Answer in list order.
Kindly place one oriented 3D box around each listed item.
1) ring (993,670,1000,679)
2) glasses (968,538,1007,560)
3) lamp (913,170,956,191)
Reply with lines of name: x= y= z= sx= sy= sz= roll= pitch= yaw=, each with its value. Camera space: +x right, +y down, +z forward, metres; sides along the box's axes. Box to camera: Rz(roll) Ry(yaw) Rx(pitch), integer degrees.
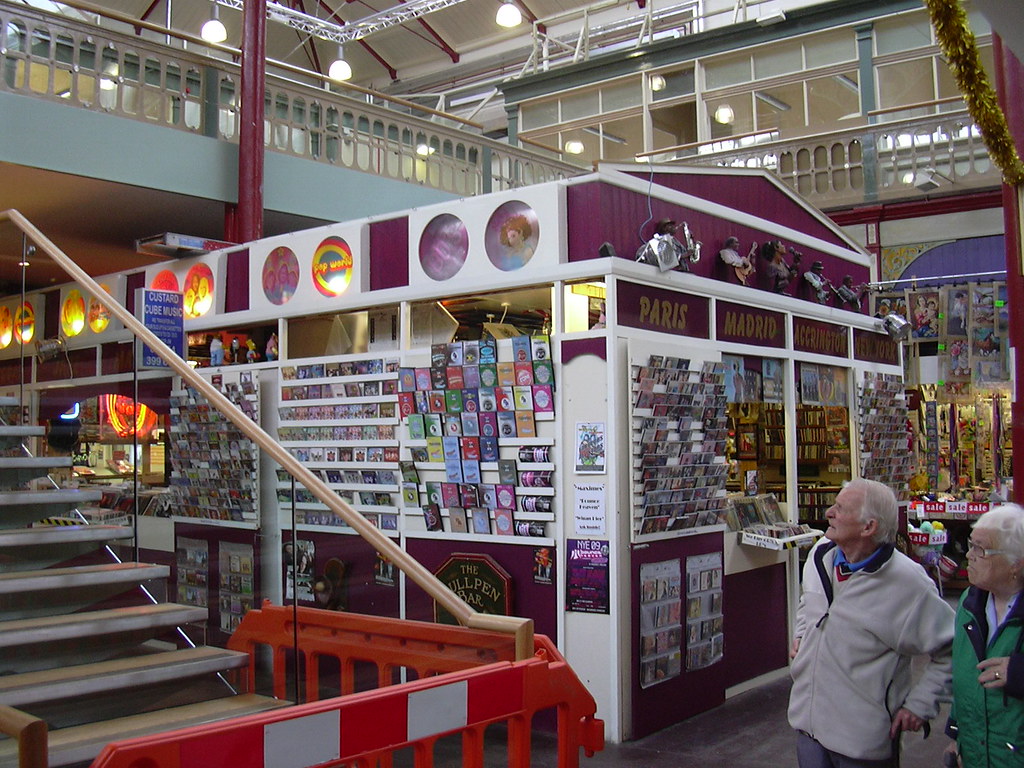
ring: x=1.649 y=0.984 z=3.134 sx=0.010 sy=0.017 sz=0.016 roll=3 pitch=-6 yaw=17
glasses: x=1.695 y=0.579 z=3.264 sx=0.085 sy=0.045 sz=0.086 roll=11 pitch=-7 yaw=-3
lamp: x=5.869 y=-2.877 z=13.009 sx=0.305 sy=0.249 sz=0.567 roll=-4 pitch=-6 yaw=44
